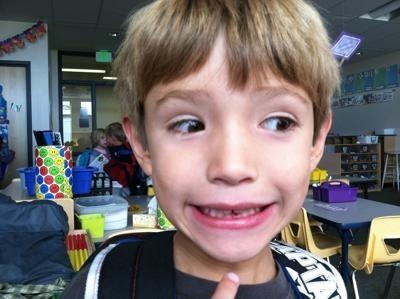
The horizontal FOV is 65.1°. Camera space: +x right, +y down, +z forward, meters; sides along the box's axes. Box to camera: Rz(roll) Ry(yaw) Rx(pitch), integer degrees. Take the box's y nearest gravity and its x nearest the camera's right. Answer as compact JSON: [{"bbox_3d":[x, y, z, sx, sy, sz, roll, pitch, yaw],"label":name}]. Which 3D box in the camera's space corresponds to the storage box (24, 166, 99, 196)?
[{"bbox_3d":[-0.985,0.234,2.137,0.520,0.195,0.372,0,2,-17],"label":"storage box"}]

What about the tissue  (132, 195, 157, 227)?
[{"bbox_3d":[-0.337,0.385,1.859,0.156,0.176,0.195,11,-22,-27],"label":"tissue "}]

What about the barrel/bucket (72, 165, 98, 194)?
[{"bbox_3d":[-0.795,0.205,2.072,0.165,0.172,0.151,2,0,0],"label":"barrel/bucket"}]
